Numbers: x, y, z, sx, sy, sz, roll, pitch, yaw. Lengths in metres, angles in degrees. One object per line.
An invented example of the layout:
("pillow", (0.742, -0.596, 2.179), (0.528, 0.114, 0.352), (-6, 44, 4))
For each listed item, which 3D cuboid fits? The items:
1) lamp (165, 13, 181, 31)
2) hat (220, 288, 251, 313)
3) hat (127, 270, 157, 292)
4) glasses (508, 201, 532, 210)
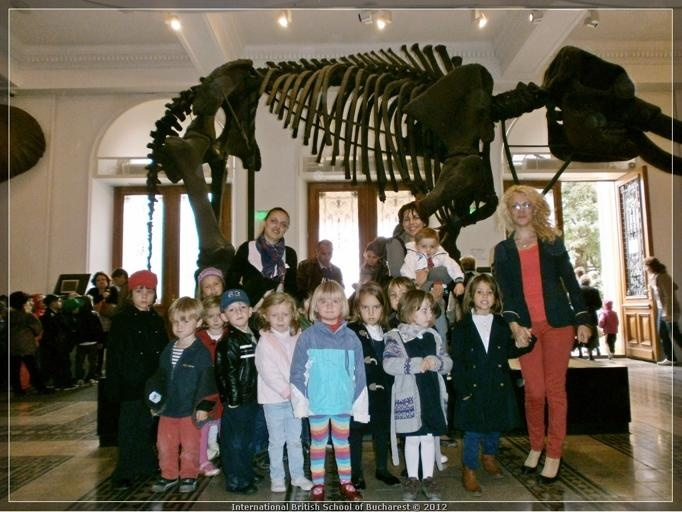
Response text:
("lamp", (-2.404, -3.349, 8.136), (0.213, 0.127, 0.390), (-2, -7, -15))
("hat", (-0.828, 0.337, 4.334), (0.221, 0.158, 0.118), (-4, -7, -1))
("hat", (-1.604, 0.188, 4.567), (0.216, 0.169, 0.176), (-1, -7, -23))
("glasses", (1.428, -0.400, 4.462), (0.147, 0.064, 0.030), (-5, -7, 14))
